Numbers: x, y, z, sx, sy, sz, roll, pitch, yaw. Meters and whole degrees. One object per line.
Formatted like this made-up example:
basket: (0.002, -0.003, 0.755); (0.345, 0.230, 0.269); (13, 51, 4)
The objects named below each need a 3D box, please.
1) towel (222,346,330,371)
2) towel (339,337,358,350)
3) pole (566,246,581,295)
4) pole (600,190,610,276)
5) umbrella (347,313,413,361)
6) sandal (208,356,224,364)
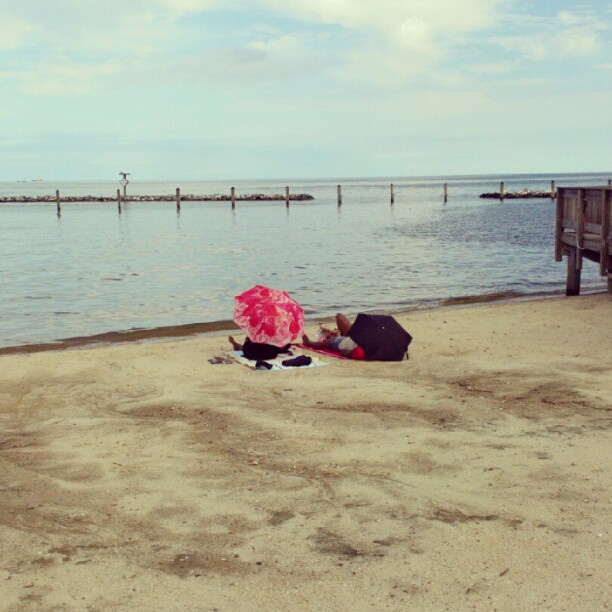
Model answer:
towel: (-0.365, 0.657, 10.285); (1.070, 0.113, 1.220); (-4, 7, -23)
towel: (0.549, 0.491, 10.409); (0.069, 0.162, 0.186); (40, -22, -29)
pole: (5.167, -0.682, 15.444); (0.224, 0.960, 0.626); (1, 9, 16)
pole: (4.782, -1.173, 12.789); (0.114, 1.344, 0.426); (1, 10, 20)
umbrella: (0.955, 0.403, 10.330); (0.802, 0.579, 0.400); (-1, 8, 2)
sandal: (-1.143, 0.684, 10.192); (0.184, 0.039, 0.161); (-2, 6, -6)
